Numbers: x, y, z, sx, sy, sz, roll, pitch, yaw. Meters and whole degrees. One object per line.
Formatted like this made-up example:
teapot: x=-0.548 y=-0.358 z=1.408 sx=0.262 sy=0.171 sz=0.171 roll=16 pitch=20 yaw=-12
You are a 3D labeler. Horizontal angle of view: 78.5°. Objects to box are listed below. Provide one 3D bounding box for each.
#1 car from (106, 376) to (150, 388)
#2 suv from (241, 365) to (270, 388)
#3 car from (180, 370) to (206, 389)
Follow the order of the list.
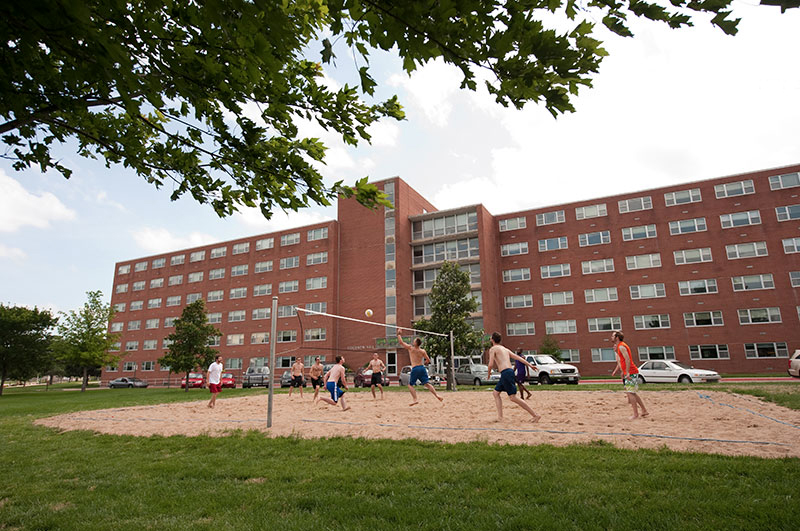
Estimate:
car: x=-32.069 y=13.691 z=58.019 sx=4.583 sy=1.514 sz=2.796 roll=-18 pitch=-25 yaw=39
suv: x=-11.788 y=9.050 z=40.314 sx=1.887 sy=1.808 sz=1.942 roll=5 pitch=-20 yaw=-19
car: x=-17.159 y=9.449 z=40.769 sx=1.536 sy=0.958 sz=2.486 roll=3 pitch=-16 yaw=-19
